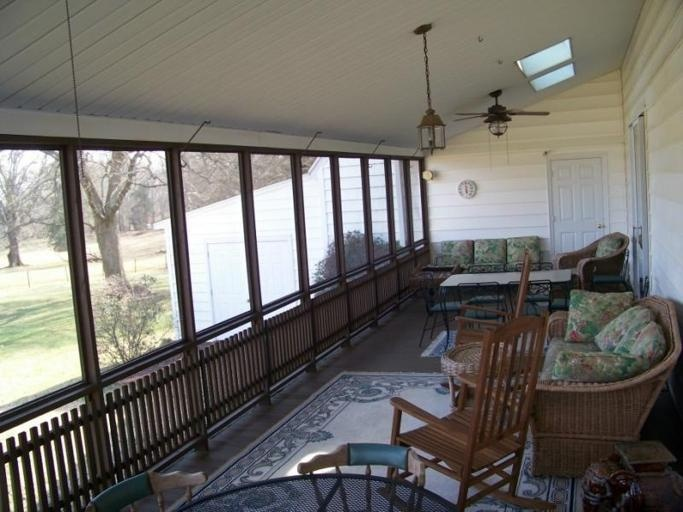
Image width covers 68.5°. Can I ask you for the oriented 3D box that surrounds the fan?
[{"bbox_3d":[2.464,-2.231,7.856,1.436,0.627,1.409,-1,9,7],"label":"fan"}]

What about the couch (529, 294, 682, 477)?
[{"bbox_3d":[2.011,0.602,4.123,1.235,0.997,2.220,-1,8,23],"label":"couch"}]
